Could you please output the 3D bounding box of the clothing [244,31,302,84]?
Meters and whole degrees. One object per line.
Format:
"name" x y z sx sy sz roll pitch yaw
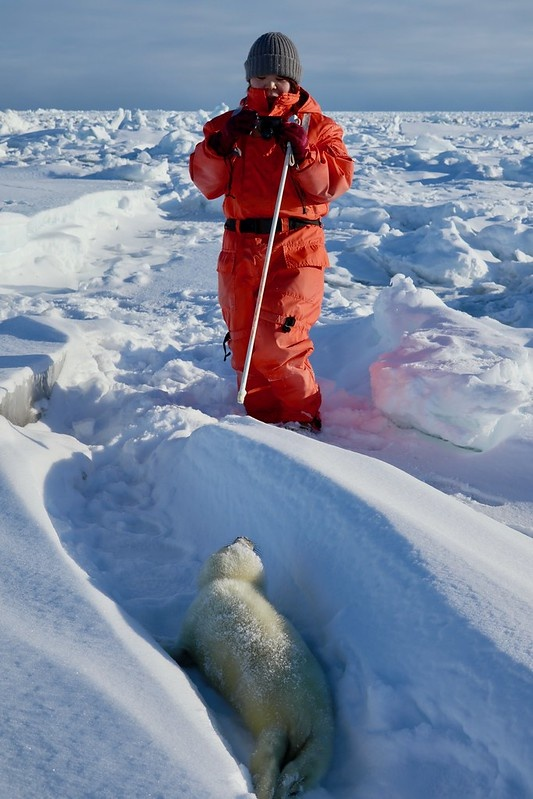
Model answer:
"clothing" 0.025 -1.180 2.597 0.191 0.154 0.130 2 21 -2

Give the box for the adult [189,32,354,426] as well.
"adult" 0.009 -0.585 2.926 0.624 1.500 0.487 1 22 -6
